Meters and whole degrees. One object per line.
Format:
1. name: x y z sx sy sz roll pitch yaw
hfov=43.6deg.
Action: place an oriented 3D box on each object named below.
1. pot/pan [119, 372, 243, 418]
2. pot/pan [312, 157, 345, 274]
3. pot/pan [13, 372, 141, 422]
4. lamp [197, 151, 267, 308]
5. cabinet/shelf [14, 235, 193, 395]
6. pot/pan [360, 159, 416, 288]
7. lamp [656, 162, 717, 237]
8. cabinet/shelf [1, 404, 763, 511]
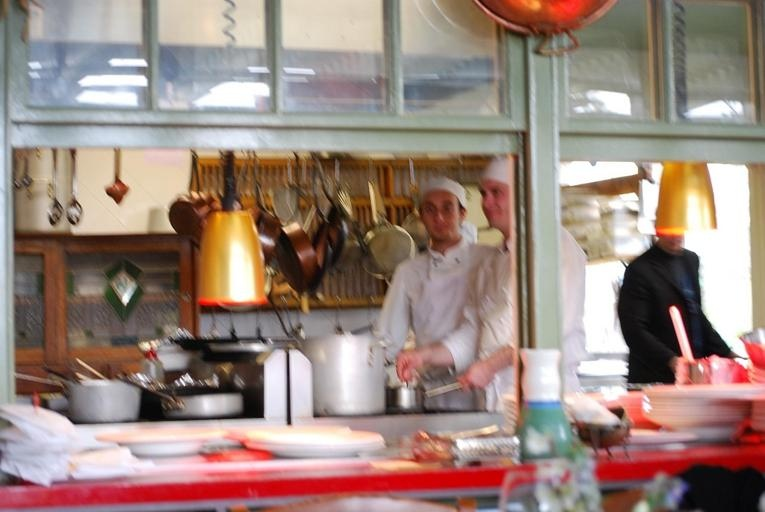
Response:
1. pot/pan: -0.688 0.503 3.399 0.318 0.126 0.190 0 -5 7
2. pot/pan: -0.275 -0.173 4.397 0.071 0.549 0.162 -3 5 11
3. pot/pan: -1.118 0.518 3.462 0.492 0.184 0.291 0 -8 -1
4. lamp: -0.486 -0.092 3.063 0.210 0.491 0.177 -2 -3 -11
5. cabinet/shelf: -1.502 0.312 5.084 0.804 0.795 0.274 -1 -7 -13
6. pot/pan: 0.046 -0.140 5.114 0.299 0.575 0.082 -15 -4 34
7. lamp: 1.088 -0.220 3.466 0.209 0.244 0.217 -3 -3 19
8. cabinet/shelf: 0.005 0.654 2.698 2.114 0.132 0.275 -2 -3 -6
